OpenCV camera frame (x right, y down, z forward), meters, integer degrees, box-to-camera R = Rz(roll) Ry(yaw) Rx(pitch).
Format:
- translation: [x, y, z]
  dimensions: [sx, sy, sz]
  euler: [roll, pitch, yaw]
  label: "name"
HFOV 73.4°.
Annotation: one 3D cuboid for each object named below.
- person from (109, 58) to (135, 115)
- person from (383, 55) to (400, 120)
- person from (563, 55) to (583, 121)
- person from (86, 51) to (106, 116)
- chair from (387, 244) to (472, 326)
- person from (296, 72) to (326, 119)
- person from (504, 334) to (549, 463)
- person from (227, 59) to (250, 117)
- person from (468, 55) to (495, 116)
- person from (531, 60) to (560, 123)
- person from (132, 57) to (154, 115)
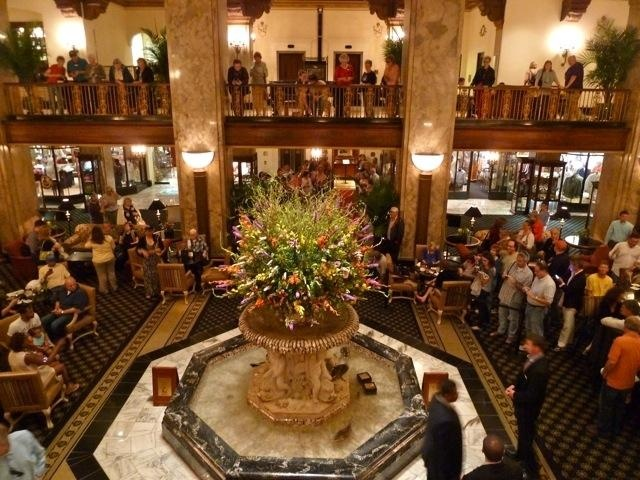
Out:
- translation: [-5.070, -3.911, 10.915]
  dimensions: [0.562, 1.409, 1.907]
  euler: [-7, 16, -21]
  label: "person"
- translation: [1.822, -3.926, 10.945]
  dimensions: [0.468, 1.547, 1.053]
  euler: [1, 15, 8]
  label: "person"
- translation: [6.322, -3.799, 10.695]
  dimensions: [0.399, 1.512, 0.884]
  euler: [7, 17, 29]
  label: "person"
- translation: [-5.770, -4.061, 10.917]
  dimensions: [0.464, 1.333, 0.409]
  euler: [-7, -2, -29]
  label: "person"
- translation: [2.364, 0.992, 8.804]
  dimensions: [1.517, 0.838, 1.551]
  euler: [-1, 20, -2]
  label: "chair"
- translation: [-0.223, -3.650, 10.723]
  dimensions: [0.693, 1.114, 1.151]
  euler: [-2, 14, -2]
  label: "person"
- translation: [2.548, 2.005, 5.323]
  dimensions: [0.405, 1.813, 0.361]
  euler: [6, 16, 26]
  label: "person"
- translation: [-2.031, -3.759, 10.576]
  dimensions: [0.494, 1.329, 1.166]
  euler: [-4, 15, -11]
  label: "person"
- translation: [4.089, -3.828, 10.785]
  dimensions: [0.527, 1.441, 1.080]
  euler: [4, 15, 19]
  label: "person"
- translation: [5.768, -3.855, 10.987]
  dimensions: [0.562, 1.537, 1.835]
  euler: [6, 16, 25]
  label: "person"
- translation: [-4.407, -3.906, 10.830]
  dimensions: [0.443, 1.344, 1.396]
  euler: [-7, 15, -21]
  label: "person"
